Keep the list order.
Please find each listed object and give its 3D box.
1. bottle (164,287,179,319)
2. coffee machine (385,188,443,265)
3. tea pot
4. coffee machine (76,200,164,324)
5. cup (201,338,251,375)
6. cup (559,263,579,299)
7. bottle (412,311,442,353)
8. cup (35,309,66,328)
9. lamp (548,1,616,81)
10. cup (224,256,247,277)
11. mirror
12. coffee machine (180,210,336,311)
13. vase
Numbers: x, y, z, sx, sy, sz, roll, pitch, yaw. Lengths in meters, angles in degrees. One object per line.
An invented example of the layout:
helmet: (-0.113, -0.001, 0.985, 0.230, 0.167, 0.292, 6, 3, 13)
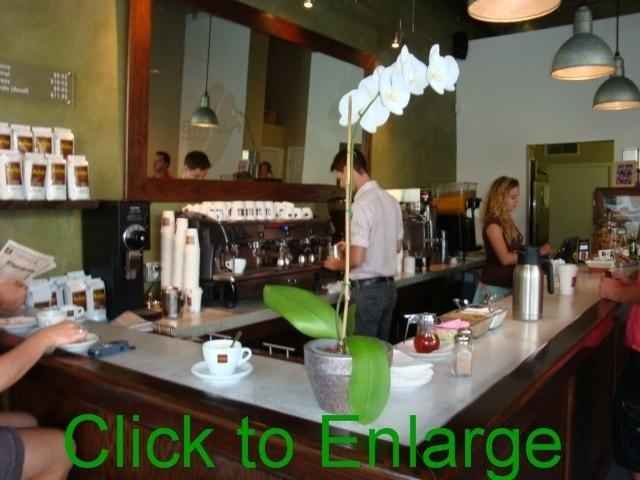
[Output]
bottle: (-0.856, 0.367, 2.917, 0.068, 0.164, 0.063, 1, 8, 0)
coffee machine: (1.011, -0.215, 5.355, 0.552, 0.841, 0.602, -8, 21, -2)
tea pot: (1.023, 0.214, 2.471, 0.140, 0.364, 0.106, 4, 9, 20)
coffee machine: (-1.230, 0.104, 3.001, 0.424, 0.680, 0.247, 0, 8, -7)
cup: (-0.311, 0.380, 1.674, 0.141, 0.116, 0.190, 2, 8, 5)
cup: (1.521, 0.242, 3.120, 0.130, 0.188, 0.129, 1, 0, 0)
bottle: (0.407, 0.358, 1.950, 0.123, 0.187, 0.129, 0, -3, 0)
cup: (-1.079, 0.305, 2.013, 0.079, 0.068, 0.088, 1, 0, -7)
lamp: (2.046, -1.536, 3.894, 0.444, 0.517, 0.446, 4, 9, 19)
cup: (-0.525, 0.168, 3.205, 0.107, 0.088, 0.113, 2, 8, 0)
mirror: (-0.574, -0.989, 3.631, 0.040, 1.230, 2.050, 0, -1, 38)
coffee machine: (-0.380, 0.104, 3.592, 0.518, 0.561, 0.972, 12, 12, 41)
vase: (0.068, 0.343, 1.308, 0.188, 0.177, 0.231, 1, 5, -5)
